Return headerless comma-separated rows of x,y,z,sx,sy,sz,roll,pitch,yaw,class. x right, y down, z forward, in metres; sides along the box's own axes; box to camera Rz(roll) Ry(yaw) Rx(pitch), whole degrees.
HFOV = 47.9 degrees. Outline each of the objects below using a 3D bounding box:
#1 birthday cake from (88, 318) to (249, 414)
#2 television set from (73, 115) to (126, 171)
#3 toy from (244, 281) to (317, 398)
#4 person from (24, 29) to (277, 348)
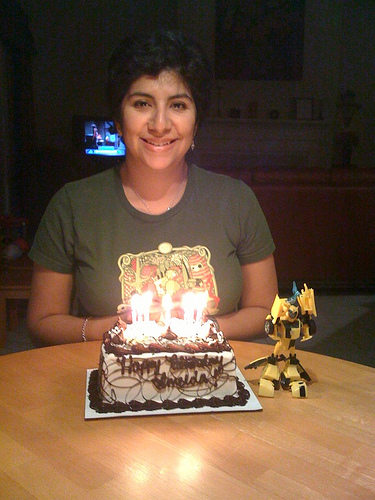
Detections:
-0.040,0.222,0.859,0.316,0.118,0.206,0,8,-9,birthday cake
-0.875,-1.137,4.515,0.639,0.545,0.354,-3,4,-14,television set
0.189,0.188,0.887,0.105,0.259,0.117,11,19,30,toy
-0.090,-0.192,1.326,0.785,0.986,0.420,-2,8,-22,person
